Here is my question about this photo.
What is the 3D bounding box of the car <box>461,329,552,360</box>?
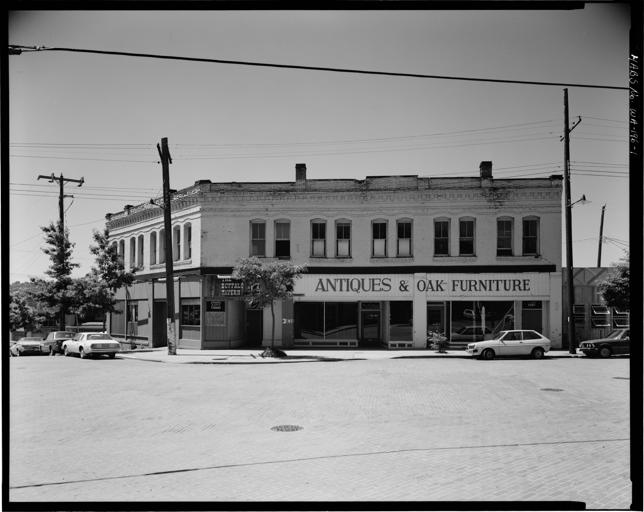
[{"bbox_3d":[7.843,3.749,34.065,2.530,1.005,1.486,1,-7,0],"label":"car"}]

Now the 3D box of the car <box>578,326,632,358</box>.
[{"bbox_3d":[11.994,3.744,34.686,1.927,1.171,1.110,-1,0,1],"label":"car"}]

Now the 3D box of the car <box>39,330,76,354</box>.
[{"bbox_3d":[-13.290,4.355,40.980,0.863,0.723,2.042,1,-1,-26],"label":"car"}]

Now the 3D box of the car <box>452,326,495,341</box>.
[{"bbox_3d":[7.293,3.839,39.893,1.445,0.676,0.842,1,-5,-1],"label":"car"}]
